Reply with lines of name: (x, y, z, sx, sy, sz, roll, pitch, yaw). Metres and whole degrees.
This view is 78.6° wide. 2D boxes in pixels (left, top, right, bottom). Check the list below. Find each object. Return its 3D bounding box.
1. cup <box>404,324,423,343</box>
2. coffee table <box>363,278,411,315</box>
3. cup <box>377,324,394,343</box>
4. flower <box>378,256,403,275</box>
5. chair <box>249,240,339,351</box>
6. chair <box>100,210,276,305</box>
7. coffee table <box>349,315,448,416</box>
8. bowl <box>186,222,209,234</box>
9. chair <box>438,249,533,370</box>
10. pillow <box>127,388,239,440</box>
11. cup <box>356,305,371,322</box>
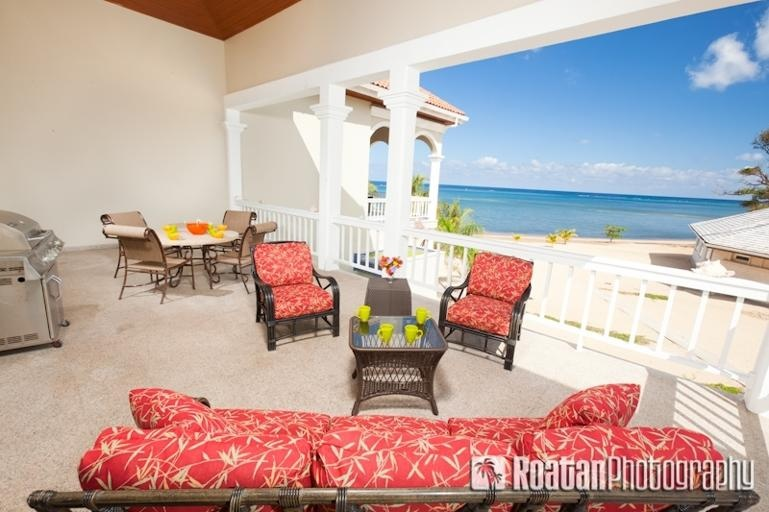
cup: (0.285, 0.823, 4.926, 0.212, 0.166, 0.135, 3, 3, -10)
coffee table: (0.036, 0.536, 6.095, 0.701, 0.363, 0.671, 5, 15, 8)
cup: (0.003, 0.794, 4.864, 0.130, 0.192, 0.198, 16, 24, 36)
flower: (0.076, 0.165, 5.980, 0.308, 0.220, 0.303, 4, 12, 13)
chair: (-1.190, 0.446, 5.980, 0.936, 0.992, 1.139, -5, 18, -25)
chair: (-3.166, -0.078, 7.542, 2.148, 1.142, 2.305, -3, 11, -24)
coffee table: (0.125, 1.305, 5.174, 1.142, 0.686, 1.212, 1, -6, 10)
bowl: (-2.870, -0.427, 7.183, 0.294, 0.188, 0.324, -2, 10, -17)
chair: (1.289, 0.606, 5.772, 0.977, 0.968, 1.156, 15, 25, 30)
pillow: (-1.643, 1.204, 3.643, 0.510, 0.163, 0.433, 10, -3, 2)
cup: (-0.248, 0.651, 5.217, 0.148, 0.158, 0.177, 4, 9, 24)
